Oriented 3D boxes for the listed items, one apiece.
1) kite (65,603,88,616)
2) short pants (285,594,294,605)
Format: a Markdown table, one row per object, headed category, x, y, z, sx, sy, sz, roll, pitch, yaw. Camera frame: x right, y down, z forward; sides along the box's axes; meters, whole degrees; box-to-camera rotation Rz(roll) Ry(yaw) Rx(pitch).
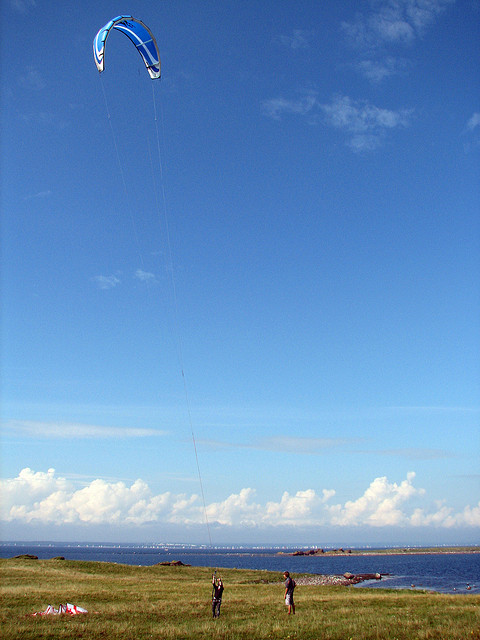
| category | x | y | z | sx | sy | sz | roll | pitch | yaw |
| --- | --- | --- | --- | --- | --- | --- | --- | --- | --- |
| kite | -10.749 | 18.882 | 59.204 | 1.454 | 0.772 | 2.372 | 1 | -21 | -12 |
| short pants | 3.212 | 17.993 | 58.532 | 0.569 | 0.623 | 0.932 | -1 | 16 | 5 |
